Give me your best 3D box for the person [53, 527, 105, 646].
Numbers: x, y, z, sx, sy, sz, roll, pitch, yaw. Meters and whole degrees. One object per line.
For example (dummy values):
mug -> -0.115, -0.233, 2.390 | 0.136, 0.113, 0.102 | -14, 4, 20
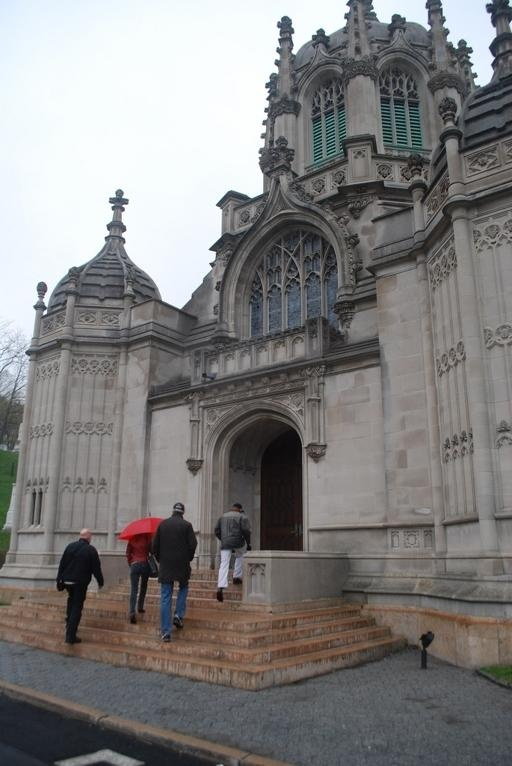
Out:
person -> -2.587, 2.990, 8.399 | 0.616, 1.601, 0.847 | 4, -15, -16

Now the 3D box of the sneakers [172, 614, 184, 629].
sneakers -> -1.058, 3.325, 7.879 | 0.087, 0.114, 0.267 | -2, -39, 6

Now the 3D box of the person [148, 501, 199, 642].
person -> -1.145, 2.599, 7.927 | 0.581, 1.815, 0.863 | 3, -15, -10

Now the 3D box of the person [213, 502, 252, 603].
person -> -0.398, 2.851, 9.581 | 0.554, 1.587, 0.931 | 1, -14, -3

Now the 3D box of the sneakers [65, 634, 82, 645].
sneakers -> -2.631, 3.720, 8.262 | 0.217, 0.118, 0.475 | 4, -15, -16

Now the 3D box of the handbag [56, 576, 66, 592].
handbag -> -2.790, 2.894, 8.201 | 0.096, 0.195, 0.313 | 6, -16, -20

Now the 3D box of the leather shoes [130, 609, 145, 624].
leather shoes -> -1.894, 3.768, 9.178 | 0.116, 0.245, 0.359 | -3, -41, 1
